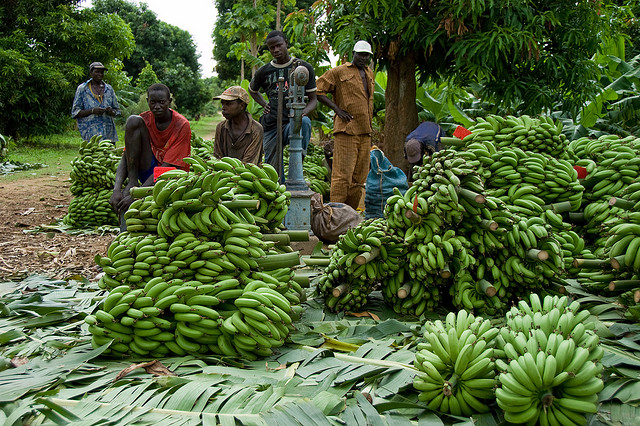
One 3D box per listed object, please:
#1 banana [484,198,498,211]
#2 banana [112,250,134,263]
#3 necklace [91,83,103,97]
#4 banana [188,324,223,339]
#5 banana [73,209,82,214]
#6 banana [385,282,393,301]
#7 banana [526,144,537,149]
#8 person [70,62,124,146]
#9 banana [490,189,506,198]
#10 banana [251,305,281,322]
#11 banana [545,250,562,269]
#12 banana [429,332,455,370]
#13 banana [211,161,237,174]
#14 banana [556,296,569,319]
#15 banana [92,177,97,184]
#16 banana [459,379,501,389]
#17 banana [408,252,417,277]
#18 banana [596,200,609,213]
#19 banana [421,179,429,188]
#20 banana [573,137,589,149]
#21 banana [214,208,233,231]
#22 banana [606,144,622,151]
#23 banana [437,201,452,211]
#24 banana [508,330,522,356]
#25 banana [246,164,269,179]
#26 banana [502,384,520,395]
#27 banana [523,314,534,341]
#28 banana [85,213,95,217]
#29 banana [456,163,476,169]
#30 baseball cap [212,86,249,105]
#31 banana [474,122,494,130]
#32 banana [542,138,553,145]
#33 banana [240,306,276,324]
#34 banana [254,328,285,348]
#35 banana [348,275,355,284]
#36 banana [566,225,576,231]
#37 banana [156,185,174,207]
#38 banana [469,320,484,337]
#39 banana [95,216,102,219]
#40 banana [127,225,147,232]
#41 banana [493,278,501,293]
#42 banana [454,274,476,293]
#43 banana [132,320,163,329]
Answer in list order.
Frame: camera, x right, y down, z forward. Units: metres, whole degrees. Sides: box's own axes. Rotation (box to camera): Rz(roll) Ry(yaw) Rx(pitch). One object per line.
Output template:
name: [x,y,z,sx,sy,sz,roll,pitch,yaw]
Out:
banana: [1.583,-0.078,5.274,0.135,0.037,0.046,39,-29,-10]
banana: [-1.772,0.397,5.072,0.252,0.089,0.062,-22,-22,35]
necklace: [-4.260,-2.311,10.850,0.080,0.224,0.209,6,3,36]
banana: [-1.010,1.016,4.905,0.240,0.049,0.081,10,-28,-1]
banana: [-3.940,-0.017,9.162,0.092,0.049,0.029,-8,-6,-13]
banana: [0.671,0.777,5.572,0.051,0.148,0.035,-9,-19,-13]
banana: [2.133,-0.661,5.724,0.103,0.038,0.026,4,2,-11]
person: [-4.283,-1.798,10.971,0.918,1.957,0.706,-18,37,-41]
banana: [1.757,-0.190,5.575,0.163,0.068,0.057,4,2,-25]
banana: [-0.487,0.873,4.907,0.173,0.041,0.062,30,42,4]
banana: [2.151,0.424,5.223,0.149,0.144,0.055,5,3,22]
banana: [0.953,1.083,4.425,0.108,0.063,0.302,-10,53,-51]
banana: [-0.905,-0.428,5.381,0.295,0.069,0.104,18,-8,-29]
banana: [1.957,0.749,4.549,0.054,0.182,0.074,16,-13,6]
banana: [-3.688,-0.504,9.246,0.066,0.079,0.098,4,2,-16]
banana: [1.225,1.295,4.312,0.287,0.058,0.097,-1,12,4]
banana: [0.880,0.498,5.433,0.086,0.231,0.046,6,1,23]
banana: [2.835,-0.057,5.682,0.180,0.045,0.065,-36,4,-41]
banana: [1.004,-0.275,5.416,0.058,0.060,0.040,5,2,24]
banana: [2.919,-0.767,6.340,0.150,0.123,0.259,5,2,25]
banana: [-0.888,0.070,5.053,0.074,0.280,0.101,-36,-6,1]
banana: [3.066,-0.677,5.900,0.121,0.063,0.080,5,2,21]
banana: [1.153,-0.051,5.311,0.177,0.048,0.058,19,-21,-2]
banana: [1.491,0.996,4.370,0.065,0.175,0.043,-9,-19,-30]
banana: [-0.598,-0.383,5.411,0.256,0.065,0.082,37,-17,14]
banana: [1.396,1.306,4.198,0.143,0.034,0.056,24,33,21]
banana: [1.605,0.874,4.383,0.050,0.062,0.183,-1,39,10]
banana: [-3.755,0.035,9.230,0.124,0.054,0.017,4,3,-22]
banana: [1.373,-0.436,5.347,0.195,0.046,0.118,4,2,-6]
baseball cap: [-1.136,-1.550,7.568,0.326,0.161,0.213,0,6,-20]
banana: [1.700,-0.889,5.853,0.053,0.071,0.248,1,-6,-27]
banana: [2.302,-0.715,5.722,0.094,0.055,0.041,4,2,-21]
banana: [-0.549,0.885,4.901,0.227,0.059,0.044,25,-27,7]
banana: [-0.447,1.091,4.931,0.241,0.094,0.063,33,-51,-26]
banana: [0.304,0.652,5.577,0.087,0.018,0.024,-46,-13,34]
banana: [2.578,0.156,5.826,0.167,0.044,0.034,-4,18,-40]
banana: [-1.407,-0.149,5.057,0.276,0.063,0.097,-47,-19,30]
banana: [1.225,0.915,4.518,0.072,0.100,0.162,5,2,17]
banana: [-3.651,0.083,9.306,0.024,0.043,0.115,7,3,43]
banana: [-1.682,0.140,5.172,0.166,0.062,0.047,5,2,9]
banana: [1.665,0.679,5.350,0.067,0.103,0.051,3,3,-27]
banana: [1.382,0.671,5.402,0.190,0.139,0.067,4,3,-22]
banana: [-1.461,0.951,4.837,0.261,0.062,0.092,5,38,-3]
